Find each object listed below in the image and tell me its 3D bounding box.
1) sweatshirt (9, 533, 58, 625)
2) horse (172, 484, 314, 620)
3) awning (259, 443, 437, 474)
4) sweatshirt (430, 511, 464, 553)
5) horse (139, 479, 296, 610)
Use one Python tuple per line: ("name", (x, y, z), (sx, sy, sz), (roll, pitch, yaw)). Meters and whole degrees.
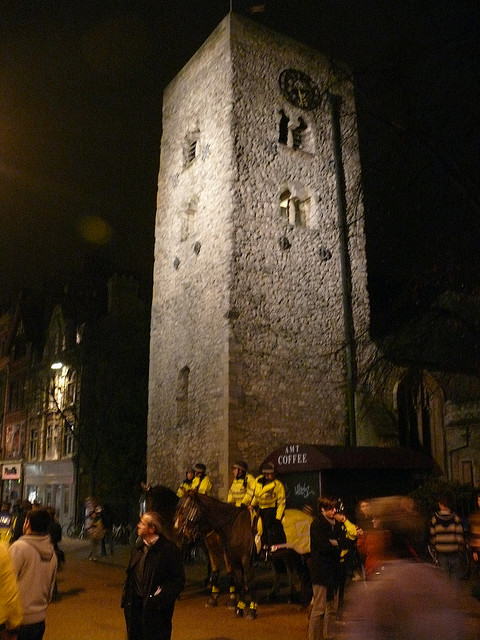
("sweatshirt", (-1.520, 1.887, 4.284), (0.205, 0.602, 0.525), (-6, -16, 20))
("horse", (0.205, 3.846, 9.783), (2.294, 2.195, 0.764), (1, -4, -25))
("awning", (2.847, 3.484, 14.925), (3.660, 0.760, 1.995), (5, -19, -19))
("sweatshirt", (3.354, 3.492, 9.338), (0.506, 0.742, 0.475), (-15, -46, 35))
("horse", (-0.040, 3.981, 10.566), (2.457, 2.444, 0.623), (5, 1, -40))
